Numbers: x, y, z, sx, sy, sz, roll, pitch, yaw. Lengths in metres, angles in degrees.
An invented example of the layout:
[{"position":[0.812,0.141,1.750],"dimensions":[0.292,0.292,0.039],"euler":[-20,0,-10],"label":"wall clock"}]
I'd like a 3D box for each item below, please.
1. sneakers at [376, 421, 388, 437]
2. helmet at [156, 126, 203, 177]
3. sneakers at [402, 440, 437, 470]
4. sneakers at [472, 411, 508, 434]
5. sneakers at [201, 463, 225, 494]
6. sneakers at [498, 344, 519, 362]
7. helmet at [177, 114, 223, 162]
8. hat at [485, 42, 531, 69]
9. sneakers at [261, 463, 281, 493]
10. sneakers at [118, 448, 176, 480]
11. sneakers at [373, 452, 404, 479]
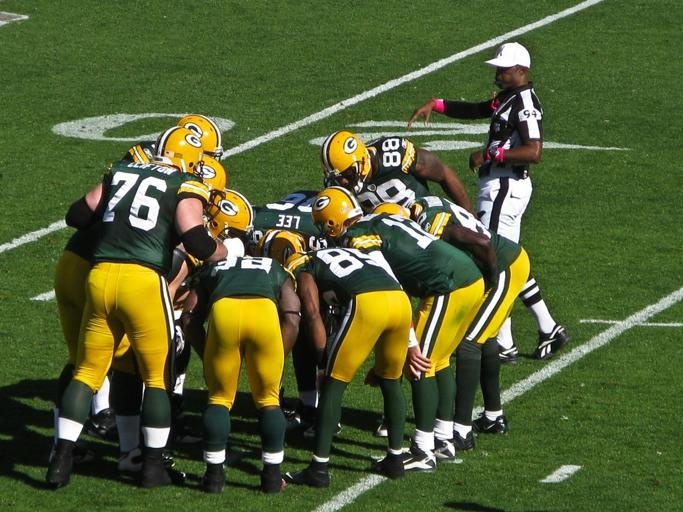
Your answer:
[{"position":[0.312,1.347,7.367],"dimensions":[0.099,0.120,0.154],"euler":[1,2,-2],"label":"sneakers"},{"position":[-1.186,-0.774,6.963],"dimensions":[0.364,0.321,0.272],"euler":[-14,23,-38],"label":"helmet"},{"position":[0.552,1.450,6.794],"dimensions":[0.303,0.206,0.139],"euler":[6,-16,-3],"label":"sneakers"},{"position":[1.163,1.303,7.390],"dimensions":[0.342,0.149,0.117],"euler":[2,4,14],"label":"sneakers"},{"position":[-0.853,1.492,6.415],"dimensions":[0.109,0.215,0.228],"euler":[5,23,-3],"label":"sneakers"},{"position":[1.492,0.859,8.364],"dimensions":[0.110,0.156,0.256],"euler":[0,6,8],"label":"sneakers"},{"position":[-1.123,-0.953,7.579],"dimensions":[0.390,0.389,0.298],"euler":[5,12,-11],"label":"helmet"},{"position":[1.549,-1.855,8.786],"dimensions":[0.367,0.201,0.268],"euler":[0,14,-6],"label":"hat"},{"position":[-0.475,1.511,6.426],"dimensions":[0.122,0.196,0.204],"euler":[2,6,8],"label":"sneakers"},{"position":[-1.389,1.452,6.638],"dimensions":[0.469,0.196,0.168],"euler":[-2,3,-5],"label":"sneakers"},{"position":[0.346,1.481,6.689],"dimensions":[0.250,0.170,0.126],"euler":[14,11,39],"label":"sneakers"}]
